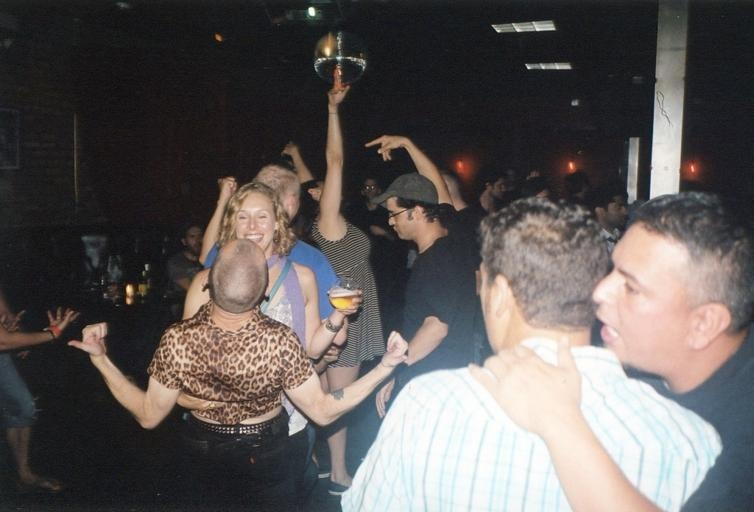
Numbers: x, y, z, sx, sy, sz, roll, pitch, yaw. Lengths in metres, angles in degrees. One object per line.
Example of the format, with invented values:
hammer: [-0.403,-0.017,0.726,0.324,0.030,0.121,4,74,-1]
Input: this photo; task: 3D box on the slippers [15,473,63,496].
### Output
slippers: [-2.526,1.672,4.440,0.328,0.161,0.128,6,9,1]

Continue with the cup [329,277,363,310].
cup: [-0.175,0.210,3.313,0.184,0.165,0.173,0,-4,0]

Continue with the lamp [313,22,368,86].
lamp: [-0.276,-1.456,4.439,0.389,0.345,0.359,1,9,3]

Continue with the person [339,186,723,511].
person: [0.598,0.441,2.296,1.343,1.308,0.432,6,9,-3]

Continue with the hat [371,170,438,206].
hat: [0.230,-0.484,4.228,0.345,0.185,0.236,10,14,10]
